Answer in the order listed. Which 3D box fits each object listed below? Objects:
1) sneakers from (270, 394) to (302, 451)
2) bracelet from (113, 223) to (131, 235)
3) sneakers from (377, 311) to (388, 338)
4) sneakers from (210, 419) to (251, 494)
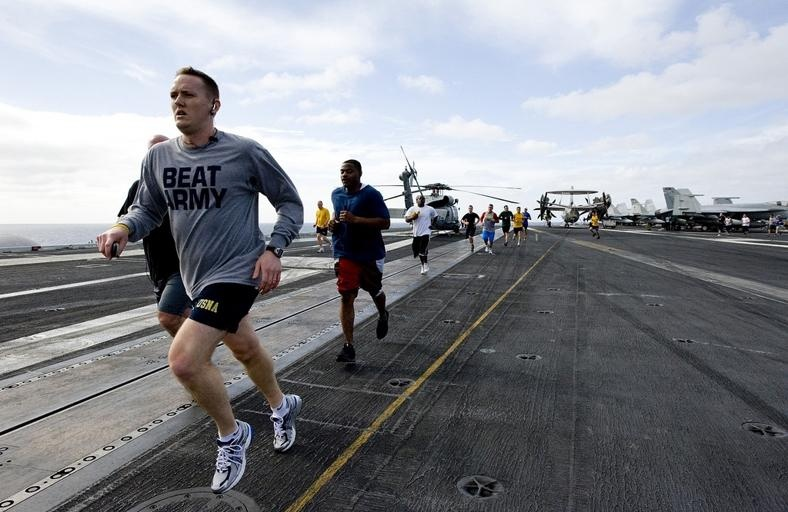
[{"bbox_3d":[-0.887,1.395,3.047,0.199,0.470,0.259,-8,-20,38],"label":"sneakers"},{"bbox_3d":[-1.971,-0.192,2.604,0.076,0.029,0.089,-3,-15,-4],"label":"bracelet"},{"bbox_3d":[-0.181,0.964,5.256,0.187,0.414,0.185,8,19,18],"label":"sneakers"},{"bbox_3d":[-1.167,1.440,2.678,0.218,0.499,0.251,-11,-30,24],"label":"sneakers"}]
